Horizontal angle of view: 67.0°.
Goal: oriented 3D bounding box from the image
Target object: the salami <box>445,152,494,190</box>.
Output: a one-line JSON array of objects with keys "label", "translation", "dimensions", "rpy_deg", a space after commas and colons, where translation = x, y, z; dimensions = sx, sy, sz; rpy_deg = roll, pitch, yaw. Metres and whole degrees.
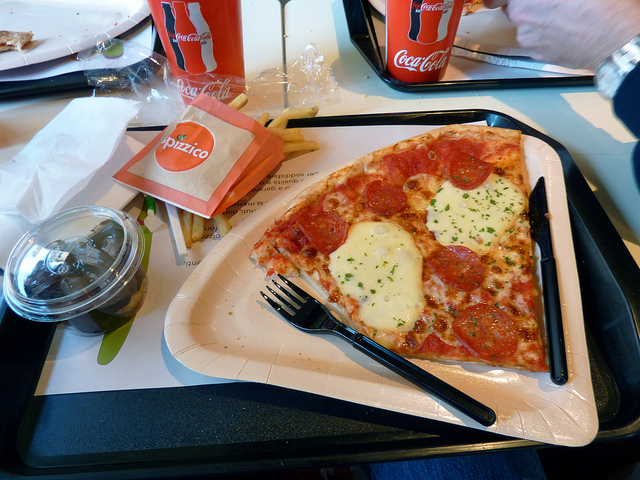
[{"label": "salami", "translation": [0.627, -0.289, 2.064], "dimensions": [0.156, 0.028, 0.158], "rpy_deg": [-33, 60, -5]}]

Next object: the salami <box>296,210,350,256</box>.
[{"label": "salami", "translation": [0.030, -0.020, 1.969], "dimensions": [0.177, 0.038, 0.182], "rpy_deg": [-31, 71, -13]}]

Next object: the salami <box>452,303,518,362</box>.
[{"label": "salami", "translation": [0.604, 0.329, 1.771], "dimensions": [0.174, 0.162, 0.240], "rpy_deg": [0, 22, -15]}]

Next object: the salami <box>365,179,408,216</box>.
[{"label": "salami", "translation": [0.268, -0.190, 2.071], "dimensions": [0.153, 0.133, 0.234], "rpy_deg": [-7, 24, -24]}]

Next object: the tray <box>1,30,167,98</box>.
[{"label": "tray", "translation": [-1.264, -0.910, 2.558], "dimensions": [0.502, 0.075, 0.525], "rpy_deg": [10, 47, 11]}]

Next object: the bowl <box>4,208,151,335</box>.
[{"label": "bowl", "translation": [-0.856, 0.196, 1.915], "dimensions": [0.466, 0.276, 0.465], "rpy_deg": [1, 62, -2]}]
